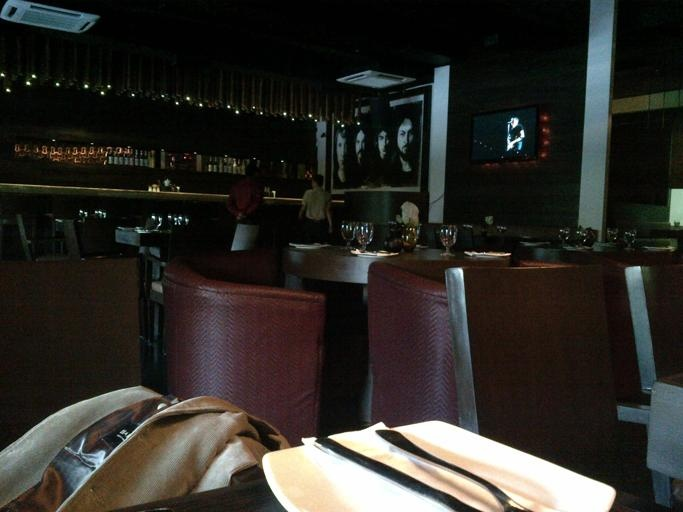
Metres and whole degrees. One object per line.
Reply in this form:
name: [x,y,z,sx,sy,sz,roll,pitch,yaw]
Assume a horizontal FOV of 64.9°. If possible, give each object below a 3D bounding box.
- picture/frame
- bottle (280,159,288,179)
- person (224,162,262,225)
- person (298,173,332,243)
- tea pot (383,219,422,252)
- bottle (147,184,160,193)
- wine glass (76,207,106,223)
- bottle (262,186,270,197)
picture/frame: [0.562,-1.778,8.648,0.080,1.535,2.451,17,24,42]
bottle: [-1.015,-1.587,9.679,0.073,0.288,0.179,3,7,30]
person: [-1.236,-0.826,6.877,0.409,0.714,2.113,-1,6,-9]
person: [-0.360,-0.679,7.695,0.471,0.964,0.480,0,6,-5]
tea pot: [0.369,-0.128,3.150,0.196,0.206,0.154,-1,-2,40]
bottle: [-2.718,-0.989,7.777,0.181,0.173,0.183,-1,6,-17]
wine glass: [-2.742,-0.454,5.867,0.387,0.149,0.396,1,-1,1]
bottle: [-1.249,-1.106,9.153,0.106,0.182,0.238,0,6,-4]
